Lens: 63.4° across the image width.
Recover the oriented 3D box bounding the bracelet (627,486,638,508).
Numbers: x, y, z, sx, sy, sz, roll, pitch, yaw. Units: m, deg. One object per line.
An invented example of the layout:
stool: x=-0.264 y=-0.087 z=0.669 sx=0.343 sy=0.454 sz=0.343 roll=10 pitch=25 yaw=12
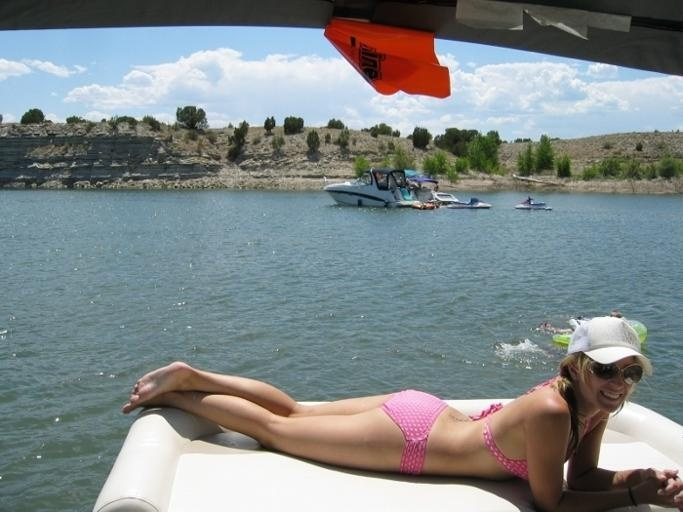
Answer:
bracelet: x=1.987 y=1.659 z=3.807 sx=0.063 sy=0.108 sz=0.050 roll=5 pitch=8 yaw=37

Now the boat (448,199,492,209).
boat: x=10.522 y=-4.090 z=45.649 sx=3.228 sy=0.791 sz=1.320 roll=0 pitch=5 yaw=6

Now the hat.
hat: x=1.771 y=0.600 z=3.781 sx=0.411 sy=0.253 sz=0.523 roll=5 pitch=-8 yaw=-13

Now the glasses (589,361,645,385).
glasses: x=1.819 y=0.773 z=3.645 sx=0.364 sy=0.140 sz=0.085 roll=0 pitch=6 yaw=-5

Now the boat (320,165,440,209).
boat: x=2.837 y=-5.199 z=44.318 sx=9.797 sy=2.794 sz=3.397 roll=1 pitch=15 yaw=7
